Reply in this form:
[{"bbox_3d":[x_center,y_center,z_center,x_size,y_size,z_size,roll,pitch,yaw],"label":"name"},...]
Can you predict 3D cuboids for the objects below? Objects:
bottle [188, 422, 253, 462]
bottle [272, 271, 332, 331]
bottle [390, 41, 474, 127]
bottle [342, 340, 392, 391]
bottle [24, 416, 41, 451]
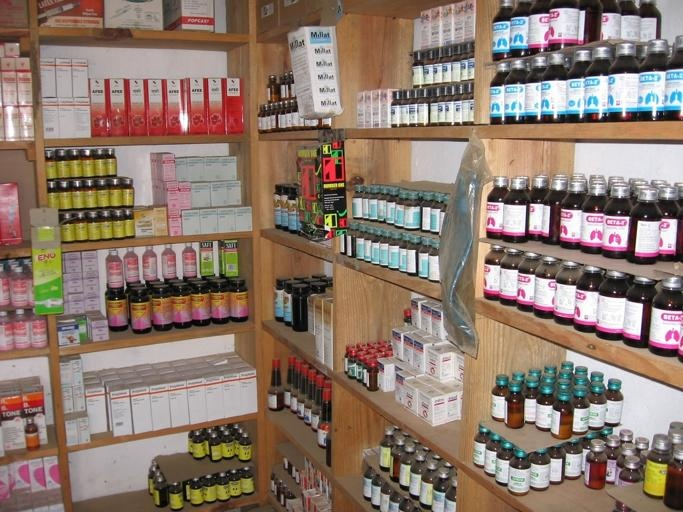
[{"bbox_3d":[-0.824,1.266,3.758,0.296,0.185,0.298,-1,2,0],"label":"bottle"},{"bbox_3d":[-0.238,0.280,3.533,0.437,0.382,0.245,4,9,24],"label":"bottle"},{"bbox_3d":[0.391,-0.677,2.198,0.210,0.321,0.514,-10,13,-25],"label":"bottle"},{"bbox_3d":[0.125,0.533,2.782,0.207,0.129,0.210,0,8,0],"label":"bottle"},{"bbox_3d":[-1.807,1.037,3.235,0.079,0.185,0.048,-11,14,-31],"label":"bottle"}]
